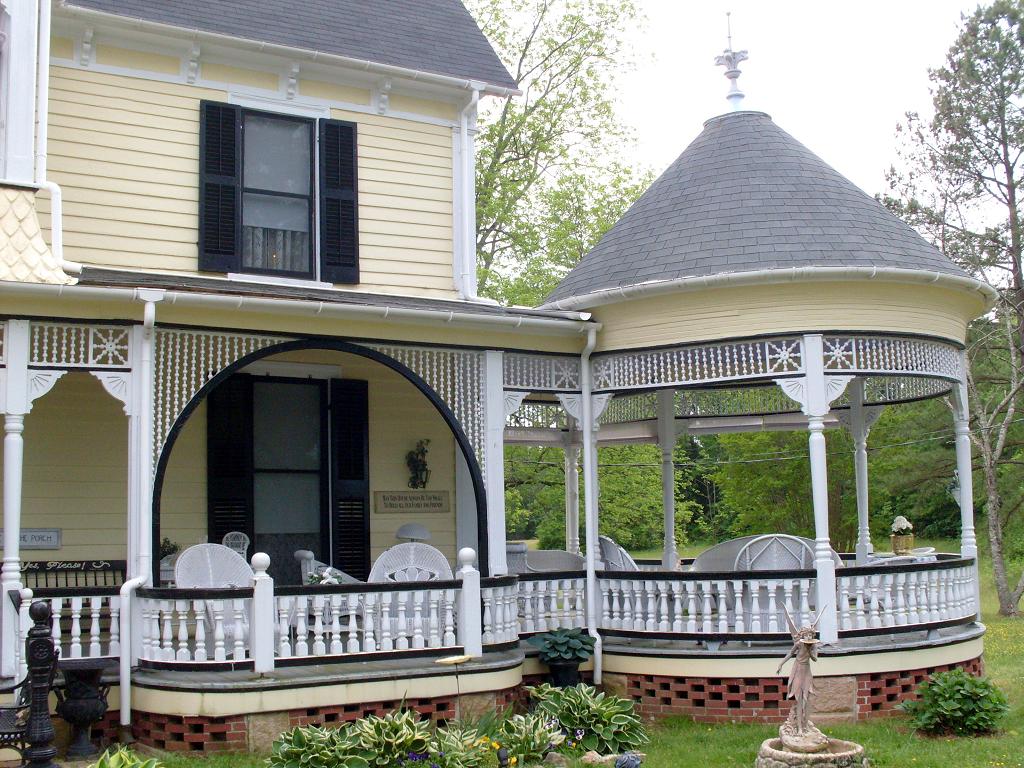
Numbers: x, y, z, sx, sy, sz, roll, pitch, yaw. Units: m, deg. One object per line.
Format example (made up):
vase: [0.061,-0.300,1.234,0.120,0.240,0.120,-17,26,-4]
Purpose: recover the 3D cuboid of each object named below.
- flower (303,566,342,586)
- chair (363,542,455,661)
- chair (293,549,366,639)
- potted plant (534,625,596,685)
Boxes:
flower: [-2.318,2.333,18.833,0.289,0.171,0.397,3,-12,-7]
chair: [-1.191,2.562,18.667,1.406,1.631,1.012,2,-14,-12]
chair: [-2.332,2.512,19.004,0.951,1.245,0.942,-4,-7,12]
potted plant: [0.626,3.329,19.003,0.611,0.619,0.616,3,-11,-15]
